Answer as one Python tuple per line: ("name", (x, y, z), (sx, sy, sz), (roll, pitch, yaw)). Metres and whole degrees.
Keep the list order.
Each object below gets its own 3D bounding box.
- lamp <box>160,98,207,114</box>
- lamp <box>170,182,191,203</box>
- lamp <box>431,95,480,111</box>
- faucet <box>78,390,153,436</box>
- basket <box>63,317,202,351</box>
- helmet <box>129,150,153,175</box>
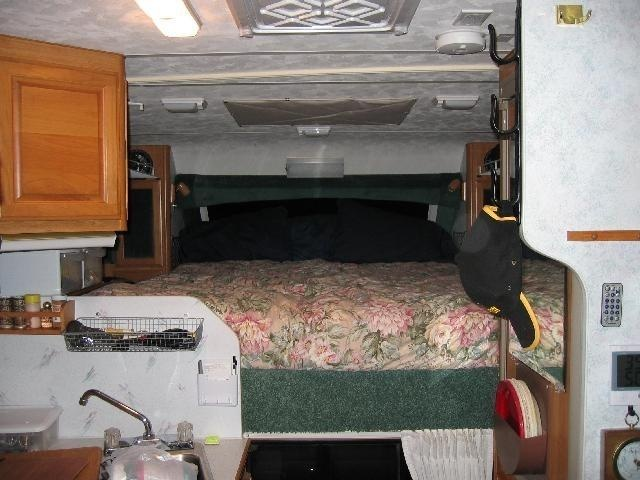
("lamp", (-0.777, -0.777, 3.028), (0.246, 0.045, 0.177), (-1, 0, -2))
("lamp", (-1.128, -0.384, 4.251), (0.136, 0.146, 0.174), (14, 2, 31))
("lamp", (0.778, -0.790, 3.021), (0.258, 0.044, 0.202), (-1, 0, 11))
("faucet", (-0.972, 0.822, 2.519), (0.330, 0.244, 0.198), (-1, -1, -17))
("basket", (-0.891, 0.447, 2.515), (0.549, 0.088, 0.240), (2, 12, -4))
("helmet", (-1.368, -0.604, 4.013), (0.220, 0.210, 0.078), (-5, 16, -10))
